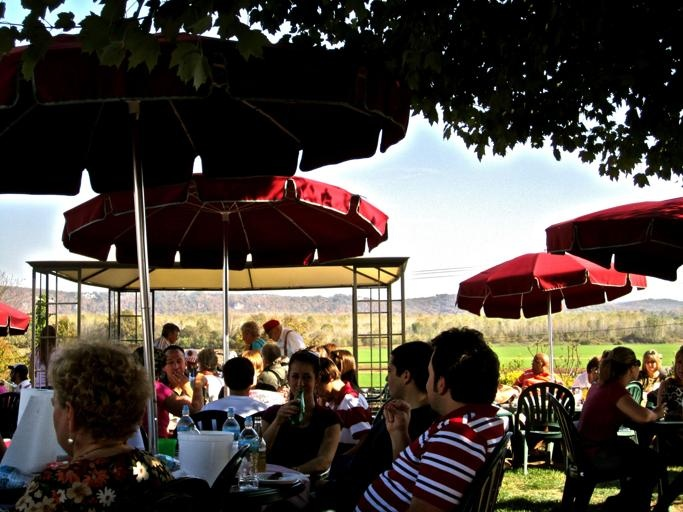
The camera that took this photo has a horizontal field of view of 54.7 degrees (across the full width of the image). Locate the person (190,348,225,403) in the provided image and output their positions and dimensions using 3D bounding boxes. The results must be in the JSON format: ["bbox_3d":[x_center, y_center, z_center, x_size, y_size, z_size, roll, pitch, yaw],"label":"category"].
[{"bbox_3d":[-1.425,1.410,7.342,0.293,0.785,0.264,-2,14,-16],"label":"person"}]

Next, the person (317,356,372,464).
[{"bbox_3d":[0.007,1.226,5.608,0.358,0.764,0.581,-20,11,-35],"label":"person"}]

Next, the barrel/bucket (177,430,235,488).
[{"bbox_3d":[-0.697,1.043,3.452,0.253,0.302,0.251,2,-12,0],"label":"barrel/bucket"}]

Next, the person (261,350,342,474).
[{"bbox_3d":[-0.272,1.241,4.501,0.534,1.166,0.577,2,-21,-2],"label":"person"}]

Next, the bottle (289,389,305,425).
[{"bbox_3d":[-0.281,1.000,4.357,0.089,0.244,0.247,2,-5,-2],"label":"bottle"}]

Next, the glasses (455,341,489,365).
[{"bbox_3d":[0.649,0.469,3.197,0.096,0.056,0.121,-6,1,6],"label":"glasses"}]

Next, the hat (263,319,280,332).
[{"bbox_3d":[-1.110,1.096,10.536,0.213,0.126,0.161,1,-11,-35],"label":"hat"}]
